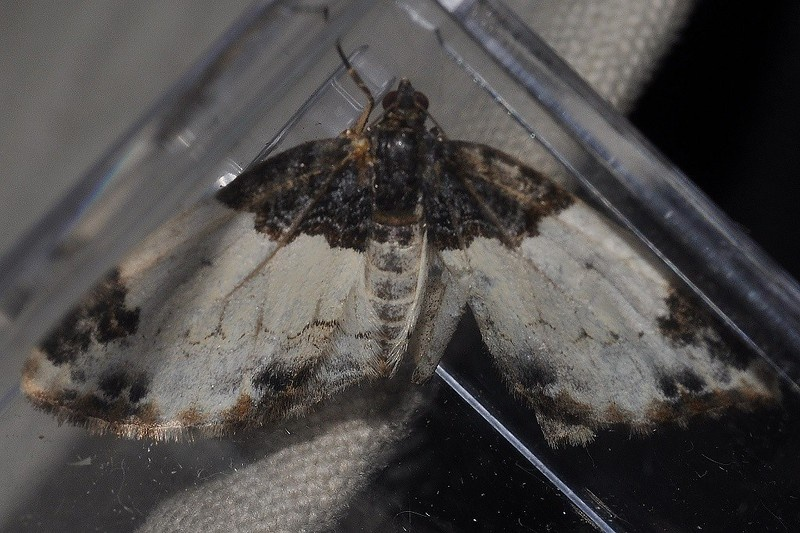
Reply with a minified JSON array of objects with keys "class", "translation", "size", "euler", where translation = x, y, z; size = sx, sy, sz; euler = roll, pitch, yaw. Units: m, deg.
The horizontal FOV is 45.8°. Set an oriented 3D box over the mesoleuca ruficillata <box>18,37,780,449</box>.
[{"class":"mesoleuca ruficillata","translation":[-0.073,-0.038,2.251],"size":[1.234,0.848,0.379],"euler":[2,6,3]}]
